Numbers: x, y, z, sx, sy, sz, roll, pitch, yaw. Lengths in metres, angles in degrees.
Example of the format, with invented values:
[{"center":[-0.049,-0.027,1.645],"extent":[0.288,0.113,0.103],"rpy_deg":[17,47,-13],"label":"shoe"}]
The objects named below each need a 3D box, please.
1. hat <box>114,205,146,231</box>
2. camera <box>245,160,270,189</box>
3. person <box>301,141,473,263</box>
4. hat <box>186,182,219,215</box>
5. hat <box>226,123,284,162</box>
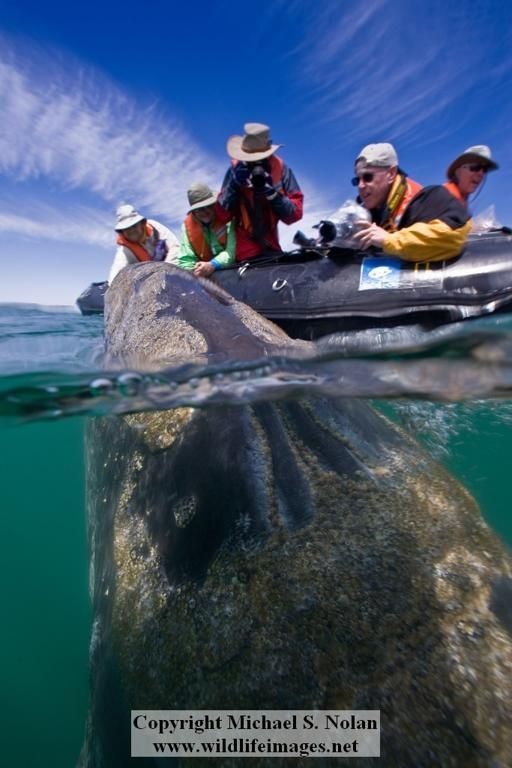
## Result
[{"center":[-1.261,-1.675,5.337],"extent":[0.265,0.229,0.238],"rpy_deg":[-5,16,-8],"label":"hat"},{"center":[0.026,-1.908,4.849],"extent":[0.201,0.278,0.426],"rpy_deg":[-3,15,1],"label":"camera"},{"center":[1.064,-1.527,4.314],"extent":[0.856,0.807,1.427],"rpy_deg":[-19,40,-23],"label":"person"},{"center":[-0.536,-1.835,5.187],"extent":[0.301,0.270,0.239],"rpy_deg":[-10,17,-22],"label":"hat"},{"center":[-0.061,-2.230,4.907],"extent":[0.432,0.328,0.300],"rpy_deg":[0,16,10],"label":"hat"}]
